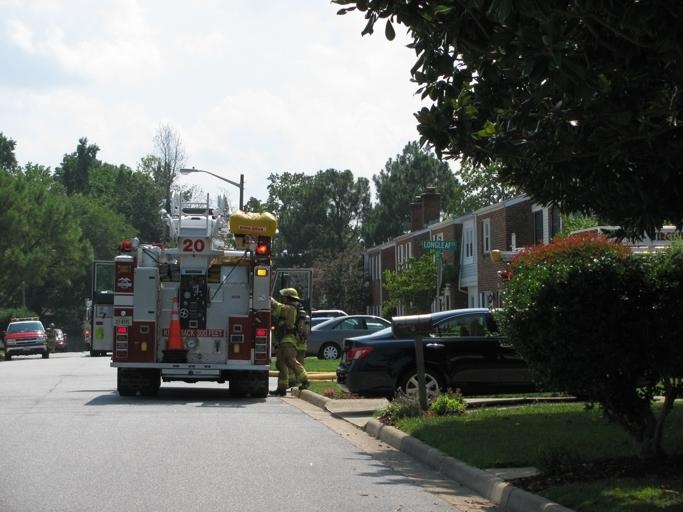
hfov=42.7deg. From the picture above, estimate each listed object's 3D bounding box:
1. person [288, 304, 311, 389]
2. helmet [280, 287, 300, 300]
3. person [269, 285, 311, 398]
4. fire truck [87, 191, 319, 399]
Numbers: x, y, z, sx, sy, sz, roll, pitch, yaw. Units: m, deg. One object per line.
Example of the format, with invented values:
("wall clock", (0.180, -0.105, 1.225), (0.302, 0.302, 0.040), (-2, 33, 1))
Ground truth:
("person", (-1.100, 2.074, 19.481), (0.533, 1.852, 0.565), (10, -15, -13))
("helmet", (-1.199, 0.821, 19.498), (0.362, 0.153, 0.259), (26, 7, 36))
("person", (-1.218, 1.955, 19.364), (0.711, 2.190, 1.071), (2, -3, -45))
("fire truck", (-3.384, 1.019, 19.365), (2.962, 3.594, 8.954), (0, -4, -13))
